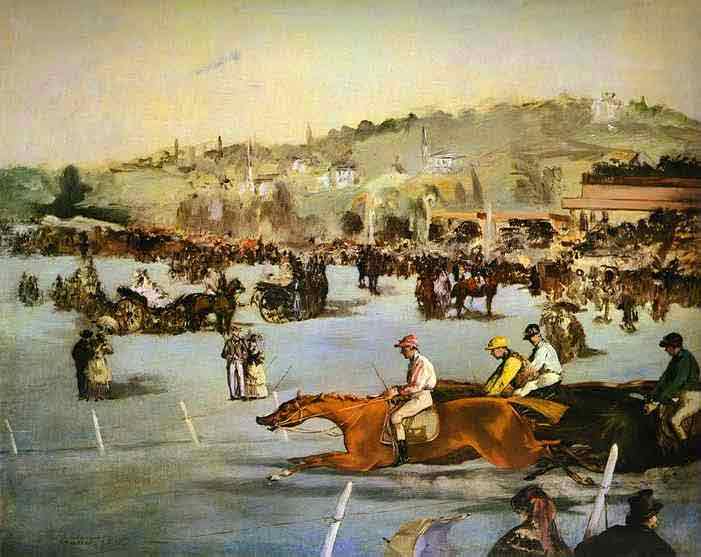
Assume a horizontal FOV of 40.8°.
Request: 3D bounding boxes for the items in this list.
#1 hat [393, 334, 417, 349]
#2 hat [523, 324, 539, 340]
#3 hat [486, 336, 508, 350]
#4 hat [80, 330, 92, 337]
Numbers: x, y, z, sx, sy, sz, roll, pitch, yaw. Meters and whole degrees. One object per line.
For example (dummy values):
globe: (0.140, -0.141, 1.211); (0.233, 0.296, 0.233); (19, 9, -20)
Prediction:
hat: (0.943, 0.762, 15.842); (0.304, 0.170, 0.187); (3, -4, 3)
hat: (3.069, 0.616, 15.892); (0.276, 0.157, 0.188); (-16, 1, 15)
hat: (2.488, 0.786, 15.819); (0.300, 0.134, 0.199); (1, -2, 3)
hat: (-4.394, 0.639, 15.626); (0.179, 0.120, 0.039); (-3, 6, 7)
